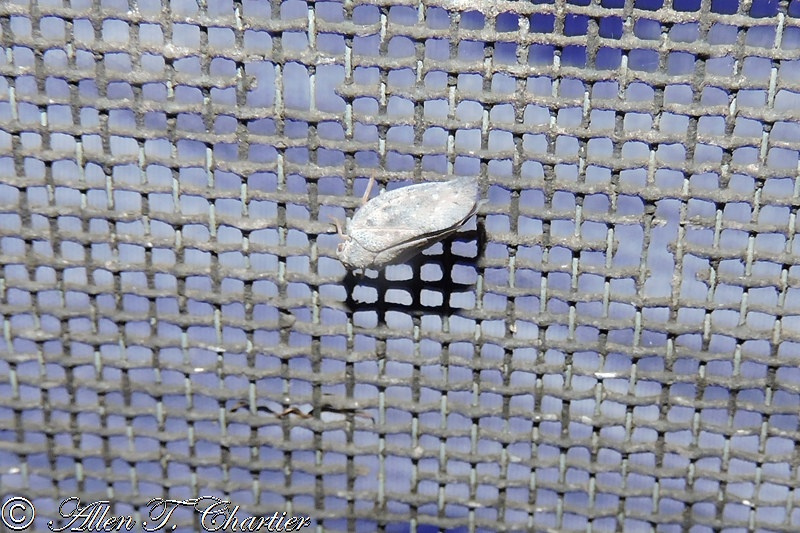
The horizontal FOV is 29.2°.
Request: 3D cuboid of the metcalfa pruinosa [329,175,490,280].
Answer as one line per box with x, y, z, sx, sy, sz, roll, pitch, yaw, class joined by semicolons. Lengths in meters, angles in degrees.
0.009;-0.118;4.234;0.390;0.221;0.265;3;79;-2;metcalfa pruinosa
